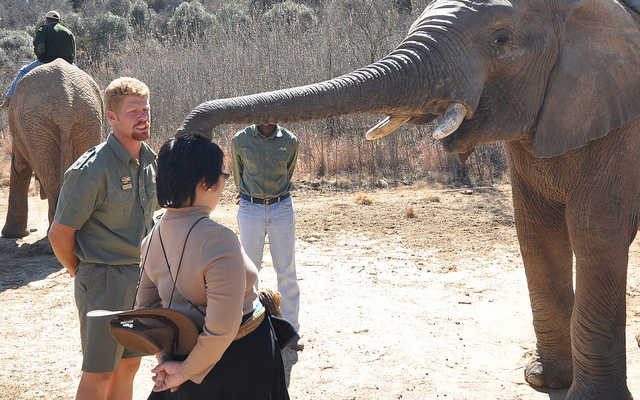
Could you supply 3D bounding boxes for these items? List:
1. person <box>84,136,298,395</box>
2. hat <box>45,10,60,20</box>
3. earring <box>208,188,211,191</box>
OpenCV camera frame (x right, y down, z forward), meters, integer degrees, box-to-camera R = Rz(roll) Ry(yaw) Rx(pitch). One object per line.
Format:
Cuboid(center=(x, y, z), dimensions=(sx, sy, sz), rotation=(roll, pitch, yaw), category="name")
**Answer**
Cuboid(center=(-1.059, 0.640, 6.624), dimensions=(1.458, 2.364, 0.514), rotation=(0, 11, 2), category="person")
Cuboid(center=(-4.222, -2.934, 11.740), dimensions=(0.213, 0.131, 0.165), rotation=(17, 21, 19), category="hat")
Cuboid(center=(-0.979, -0.094, 6.593), dimensions=(0.017, 0.024, 0.006), rotation=(-2, 11, -9), category="earring")
